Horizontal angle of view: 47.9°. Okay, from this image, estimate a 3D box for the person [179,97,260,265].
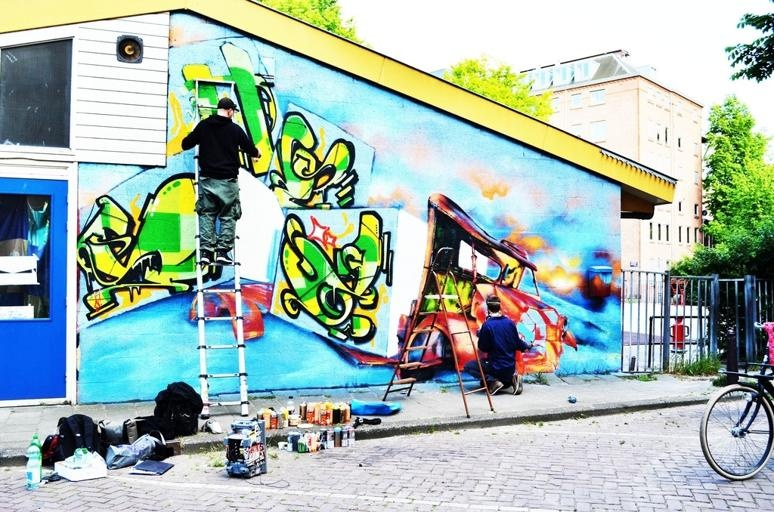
[{"bbox_3d":[-2.840,-1.238,14.595,0.826,2.707,0.619,6,-10,-42],"label":"person"}]

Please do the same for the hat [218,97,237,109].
[{"bbox_3d":[-2.681,-2.563,14.690,0.244,0.189,0.327,10,15,30],"label":"hat"}]

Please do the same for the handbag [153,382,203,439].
[{"bbox_3d":[-3.375,2.500,13.871,0.822,0.933,0.860,4,-30,-29],"label":"handbag"}]

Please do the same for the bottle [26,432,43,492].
[{"bbox_3d":[-4.982,2.918,12.305,0.210,0.713,0.240,2,-7,-20],"label":"bottle"}]

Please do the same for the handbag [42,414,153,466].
[{"bbox_3d":[-4.374,2.719,12.984,1.195,0.490,0.848,6,-7,3],"label":"handbag"}]

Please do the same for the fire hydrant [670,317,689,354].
[{"bbox_3d":[6.505,1.757,19.511,0.296,0.805,0.572,-2,-7,17],"label":"fire hydrant"}]

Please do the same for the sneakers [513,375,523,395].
[{"bbox_3d":[2.426,2.408,16.261,0.154,0.364,0.143,0,-7,-3],"label":"sneakers"}]

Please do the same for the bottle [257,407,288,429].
[{"bbox_3d":[-1.863,2.613,14.070,0.368,0.244,0.360,1,-6,0],"label":"bottle"}]
